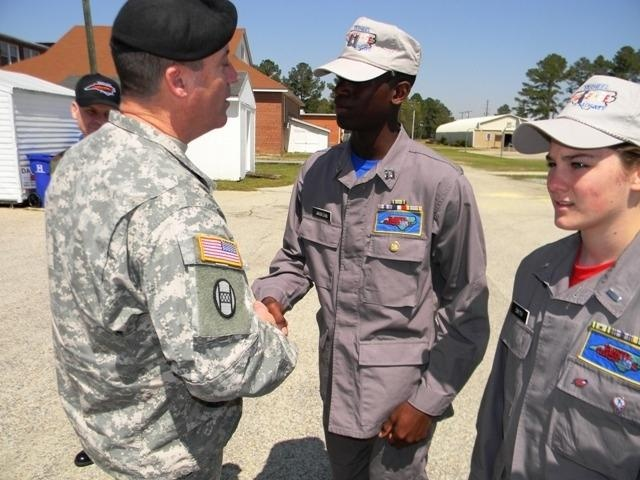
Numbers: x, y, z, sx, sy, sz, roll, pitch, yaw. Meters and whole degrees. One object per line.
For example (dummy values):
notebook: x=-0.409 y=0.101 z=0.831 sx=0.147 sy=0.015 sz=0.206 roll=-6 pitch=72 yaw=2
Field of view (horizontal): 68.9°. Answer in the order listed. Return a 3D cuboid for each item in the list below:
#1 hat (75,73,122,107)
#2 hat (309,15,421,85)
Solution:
hat: x=-2.134 y=-1.430 z=4.464 sx=0.401 sy=0.340 sz=0.560 roll=2 pitch=16 yaw=-37
hat: x=0.299 y=-1.038 z=2.532 sx=0.632 sy=0.320 sz=0.404 roll=-12 pitch=27 yaw=-31
